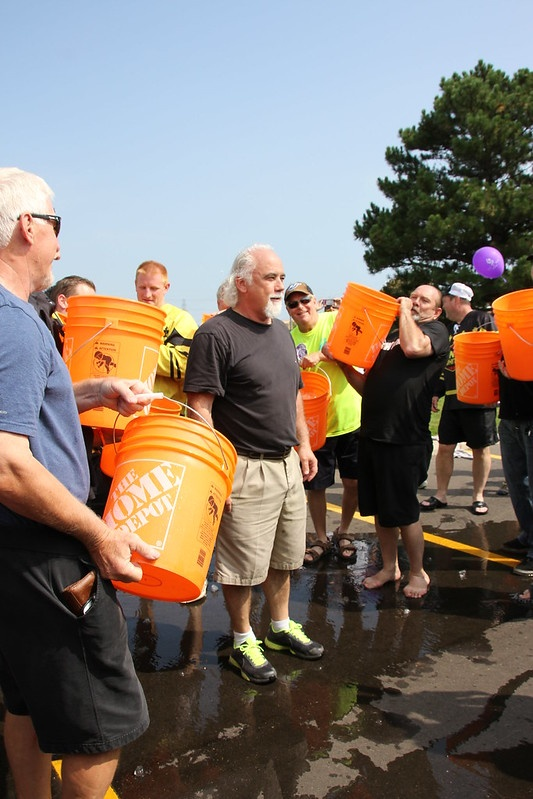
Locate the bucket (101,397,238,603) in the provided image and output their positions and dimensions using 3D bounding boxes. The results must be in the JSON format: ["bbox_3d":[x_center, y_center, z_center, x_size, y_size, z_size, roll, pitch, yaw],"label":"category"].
[{"bbox_3d":[-0.364,0.326,2.477,0.477,0.588,0.421,3,-31,9],"label":"bucket"}]

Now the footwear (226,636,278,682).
[{"bbox_3d":[-0.057,1.207,3.182,0.111,0.120,0.281,1,-1,-36],"label":"footwear"}]

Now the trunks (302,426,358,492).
[{"bbox_3d":[0.422,0.422,4.904,0.494,0.415,0.270,11,-32,-41],"label":"trunks"}]

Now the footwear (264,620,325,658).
[{"bbox_3d":[0.135,1.211,3.457,0.337,0.132,0.120,3,0,36],"label":"footwear"}]

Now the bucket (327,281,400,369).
[{"bbox_3d":[0.543,-0.422,4.049,0.433,0.494,0.302,2,6,24],"label":"bucket"}]

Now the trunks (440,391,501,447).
[{"bbox_3d":[1.803,0.213,6.217,0.577,0.456,0.319,4,-4,37],"label":"trunks"}]

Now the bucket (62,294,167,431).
[{"bbox_3d":[-0.685,-0.172,3.016,0.463,0.433,0.421,8,-5,-8],"label":"bucket"}]

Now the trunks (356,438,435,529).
[{"bbox_3d":[0.759,0.463,4.226,0.371,0.584,0.478,-6,13,-28],"label":"trunks"}]
